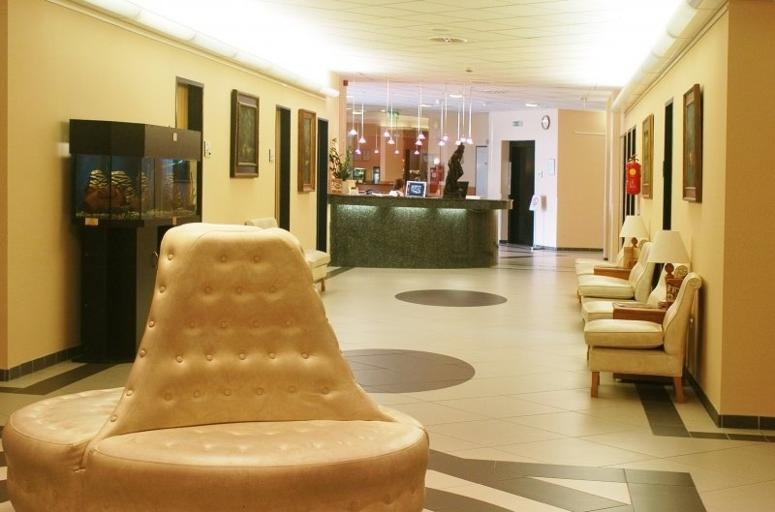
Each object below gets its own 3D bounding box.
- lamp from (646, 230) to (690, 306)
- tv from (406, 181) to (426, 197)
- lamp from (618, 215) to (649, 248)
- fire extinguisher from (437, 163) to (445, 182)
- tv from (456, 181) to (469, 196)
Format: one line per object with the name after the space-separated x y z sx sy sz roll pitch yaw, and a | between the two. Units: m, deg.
3.052 0.050 6.008 0.407 0.418 0.418 10 50 36 | lamp
0.720 -1.740 14.853 0.569 0.568 0.329 3 7 14 | tv
4.084 -0.403 9.305 0.516 0.521 0.523 -1 4 24 | lamp
2.100 -3.309 22.369 0.340 0.652 0.177 2 8 2 | fire extinguisher
1.874 -1.658 14.173 0.172 0.389 0.717 3 8 15 | tv
